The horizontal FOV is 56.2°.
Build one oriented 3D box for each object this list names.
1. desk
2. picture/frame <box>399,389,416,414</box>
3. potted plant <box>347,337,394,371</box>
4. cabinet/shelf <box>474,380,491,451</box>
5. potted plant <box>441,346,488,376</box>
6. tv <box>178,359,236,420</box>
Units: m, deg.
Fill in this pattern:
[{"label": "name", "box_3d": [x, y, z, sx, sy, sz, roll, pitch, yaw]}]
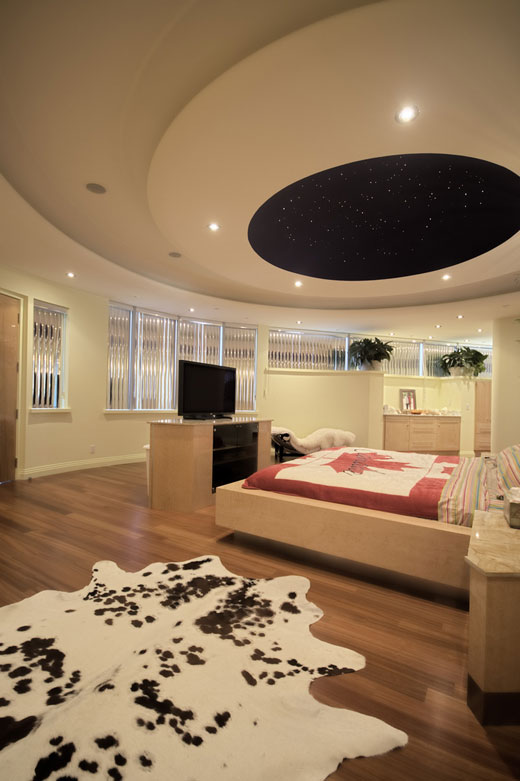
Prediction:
[{"label": "desk", "box_3d": [-0.368, 0.633, 4.599, 0.456, 0.745, 1.439, 1, -1, 30]}, {"label": "picture/frame", "box_3d": [3.012, 0.219, 9.530, 0.359, 0.700, 0.050, 5, -16, -10]}, {"label": "potted plant", "box_3d": [2.151, -0.621, 9.244, 0.628, 0.429, 0.658, 1, -3, -2]}, {"label": "cabinet/shelf", "box_3d": [4.526, 0.528, 9.581, 0.401, 1.353, 0.305, 2, -3, 0]}, {"label": "potted plant", "box_3d": [4.257, -0.558, 9.824, 0.679, 0.502, 0.694, 2, -4, -23]}, {"label": "tv", "box_3d": [-0.492, 0.025, 4.744, 0.112, 0.566, 0.950, -1, -3, 30]}]
